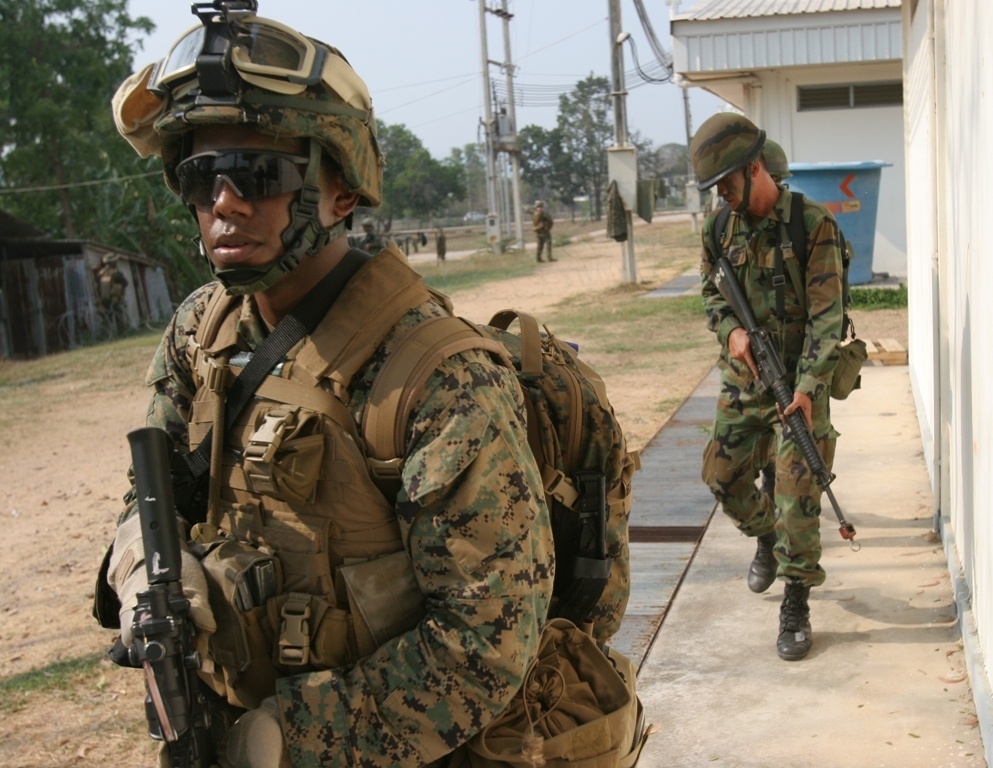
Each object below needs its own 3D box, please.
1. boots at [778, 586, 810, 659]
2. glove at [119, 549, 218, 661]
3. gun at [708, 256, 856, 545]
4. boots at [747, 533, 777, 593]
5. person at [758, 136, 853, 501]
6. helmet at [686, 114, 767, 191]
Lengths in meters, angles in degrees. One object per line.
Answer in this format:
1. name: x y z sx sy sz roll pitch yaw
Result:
1. boots: 1.198 0.911 5.069 0.118 0.258 0.369 -1 10 21
2. glove: -0.799 0.475 3.061 0.187 0.057 0.172 -35 5 -39
3. gun: 1.208 0.069 5.413 0.134 1.348 0.379 -18 -11 -6
4. boots: 1.179 0.802 5.648 0.085 0.284 0.115 9 -9 37
5. person: 1.226 -0.272 5.314 0.354 1.674 0.619 0 -14 -4
6. helmet: 0.956 -0.960 5.242 0.315 0.298 0.394 -4 10 11
